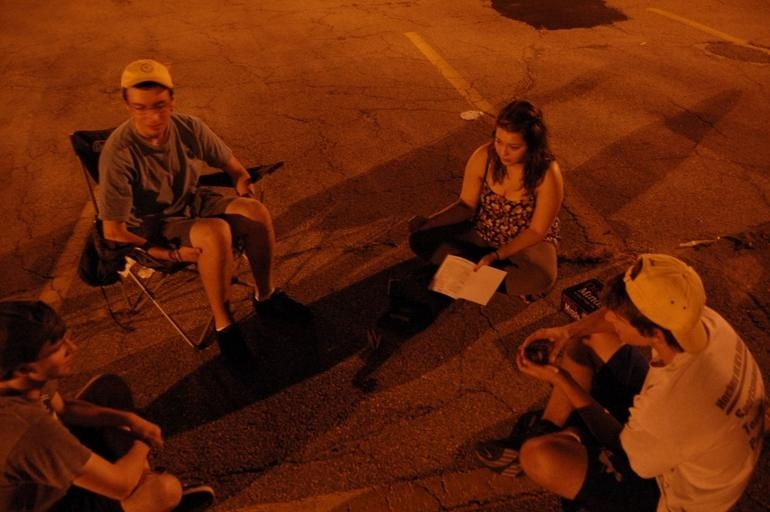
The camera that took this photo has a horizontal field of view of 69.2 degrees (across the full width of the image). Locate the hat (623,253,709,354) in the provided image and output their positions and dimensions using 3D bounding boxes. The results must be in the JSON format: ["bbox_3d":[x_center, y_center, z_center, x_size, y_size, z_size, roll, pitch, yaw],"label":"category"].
[{"bbox_3d":[1.764,0.303,3.390,0.593,0.300,0.432,36,56,1],"label":"hat"}]

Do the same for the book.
[{"bbox_3d":[0.717,0.195,4.929,0.549,0.194,0.450,27,49,16],"label":"book"}]

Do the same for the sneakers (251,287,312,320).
[{"bbox_3d":[-0.917,0.423,5.021,0.578,0.215,0.213,2,22,-3],"label":"sneakers"}]

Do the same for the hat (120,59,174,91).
[{"bbox_3d":[-1.876,-1.413,4.348,0.359,0.191,0.344,-13,51,-20],"label":"hat"}]

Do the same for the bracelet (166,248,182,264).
[{"bbox_3d":[-1.686,-0.001,4.496,0.086,0.107,0.040,-26,16,15],"label":"bracelet"}]

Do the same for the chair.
[{"bbox_3d":[-1.612,-0.262,4.766,1.701,1.567,1.607,-13,19,-5],"label":"chair"}]

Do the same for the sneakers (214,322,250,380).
[{"bbox_3d":[-1.262,0.776,4.739,0.208,0.220,0.536,-32,91,-21],"label":"sneakers"}]
